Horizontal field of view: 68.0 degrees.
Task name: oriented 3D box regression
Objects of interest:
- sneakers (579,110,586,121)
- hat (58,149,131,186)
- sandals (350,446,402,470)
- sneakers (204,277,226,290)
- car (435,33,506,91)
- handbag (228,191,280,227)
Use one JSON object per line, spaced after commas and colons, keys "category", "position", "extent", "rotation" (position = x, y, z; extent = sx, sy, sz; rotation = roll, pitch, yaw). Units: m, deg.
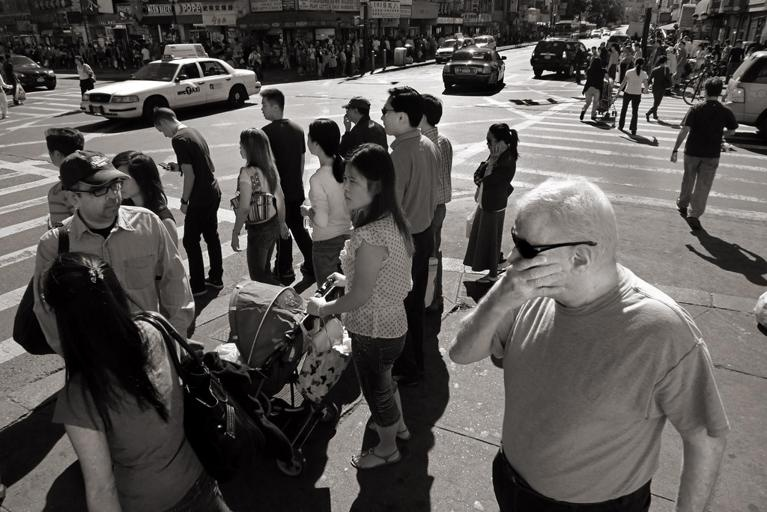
{"category": "sneakers", "position": [6.155, -4.359, 17.556], "extent": [0.137, 0.432, 0.292], "rotation": [3, 39, 10]}
{"category": "hat", "position": [-2.142, -0.647, 4.212], "extent": [0.376, 0.220, 0.295], "rotation": [-4, 22, -10]}
{"category": "sandals", "position": [-0.066, 1.690, 4.687], "extent": [0.332, 0.113, 0.188], "rotation": [-3, 24, 1]}
{"category": "sneakers", "position": [-2.155, 0.356, 7.280], "extent": [0.276, 0.119, 0.106], "rotation": [21, 29, 32]}
{"category": "car", "position": [4.263, -8.433, 25.340], "extent": [1.564, 1.225, 3.694], "rotation": [6, 32, 15]}
{"category": "handbag", "position": [-1.406, -0.540, 6.239], "extent": [0.363, 0.390, 0.390], "rotation": [-2, 28, -9]}
